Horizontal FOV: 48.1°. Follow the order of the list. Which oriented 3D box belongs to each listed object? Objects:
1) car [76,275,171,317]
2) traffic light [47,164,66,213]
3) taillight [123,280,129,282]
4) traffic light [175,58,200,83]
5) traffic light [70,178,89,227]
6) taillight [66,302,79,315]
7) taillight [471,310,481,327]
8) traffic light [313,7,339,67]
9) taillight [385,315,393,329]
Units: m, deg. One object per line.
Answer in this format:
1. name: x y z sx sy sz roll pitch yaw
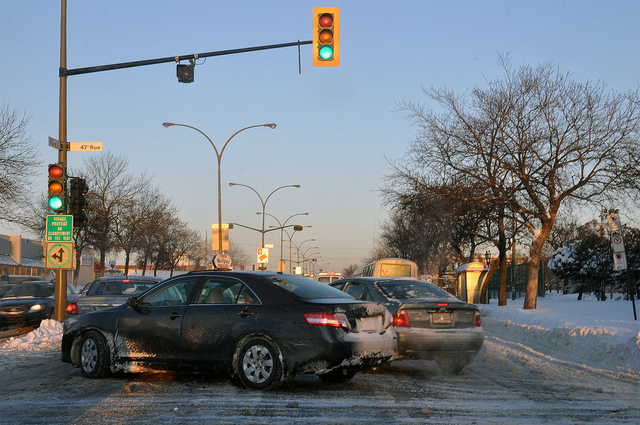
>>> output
1. car: -5.190 2.197 18.900 1.196 0.920 2.782 -1 2 4
2. traffic light: -7.974 -0.728 21.772 0.526 1.049 0.395 4 -3 -22
3. taillight: -5.856 2.055 21.637 0.165 0.063 0.041 4 -3 -22
4. traffic light: -3.853 -4.036 20.563 0.420 0.708 0.402 4 -3 -24
5. traffic light: -7.525 -0.314 22.315 0.544 1.067 0.815 4 -3 -20
6. taillight: -7.313 2.829 21.166 0.237 0.219 0.427 1 3 -5
7. taillight: 3.582 2.438 16.495 0.103 0.351 0.293 1 -3 35
8. traffic light: 0.149 -4.454 18.453 0.662 1.567 0.493 3 -2 -1
9. taillight: 1.436 2.289 15.055 0.289 0.065 0.291 1 -12 -19
